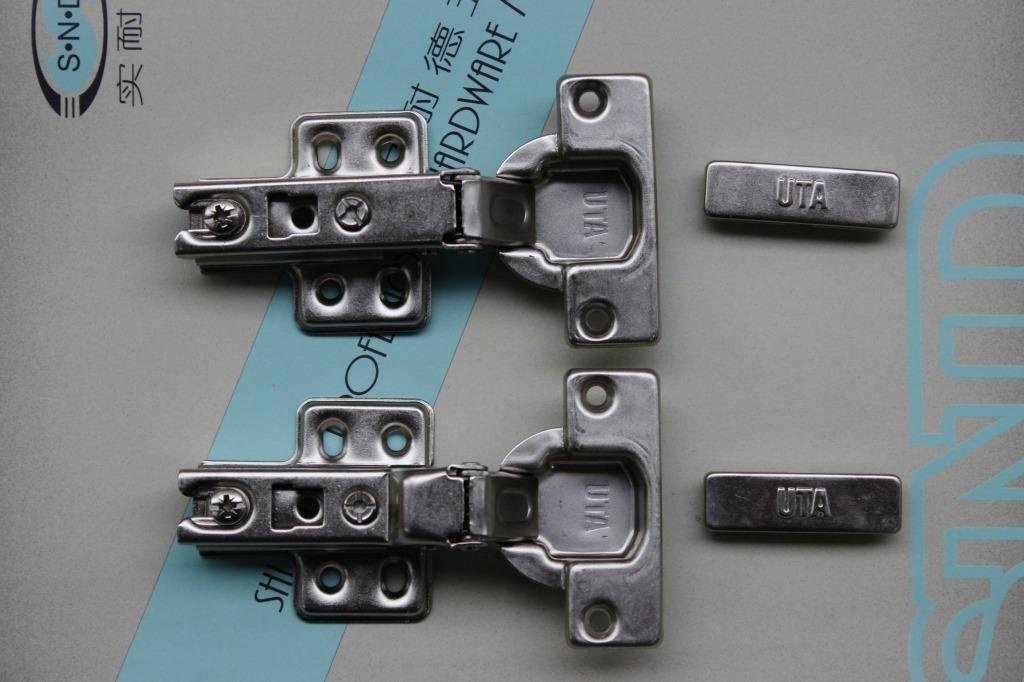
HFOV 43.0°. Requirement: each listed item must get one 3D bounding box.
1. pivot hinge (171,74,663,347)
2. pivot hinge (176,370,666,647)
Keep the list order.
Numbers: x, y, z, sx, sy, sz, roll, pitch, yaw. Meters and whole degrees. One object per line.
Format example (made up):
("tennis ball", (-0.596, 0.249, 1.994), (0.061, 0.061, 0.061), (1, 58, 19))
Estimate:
("pivot hinge", (-0.135, -0.198, 1.965), (0.690, 0.408, 0.141), (-2, -2, 2))
("pivot hinge", (-0.122, 0.258, 2.038), (0.691, 0.402, 0.147), (-1, -6, 2))
